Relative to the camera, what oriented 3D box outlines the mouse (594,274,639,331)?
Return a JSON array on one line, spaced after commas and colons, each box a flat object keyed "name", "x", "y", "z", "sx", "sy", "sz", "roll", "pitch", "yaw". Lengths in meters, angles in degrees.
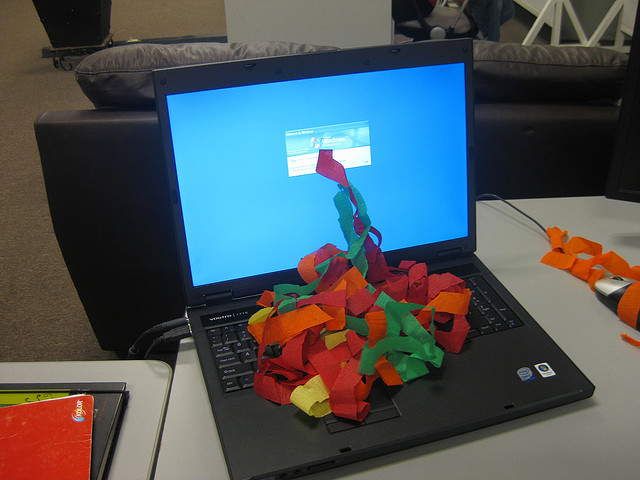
[{"name": "mouse", "x": 0.550, "y": 0.092, "z": 0.936, "sx": 0.063, "sy": 0.043, "sz": 0.063, "roll": -16, "pitch": 37, "yaw": -16}]
